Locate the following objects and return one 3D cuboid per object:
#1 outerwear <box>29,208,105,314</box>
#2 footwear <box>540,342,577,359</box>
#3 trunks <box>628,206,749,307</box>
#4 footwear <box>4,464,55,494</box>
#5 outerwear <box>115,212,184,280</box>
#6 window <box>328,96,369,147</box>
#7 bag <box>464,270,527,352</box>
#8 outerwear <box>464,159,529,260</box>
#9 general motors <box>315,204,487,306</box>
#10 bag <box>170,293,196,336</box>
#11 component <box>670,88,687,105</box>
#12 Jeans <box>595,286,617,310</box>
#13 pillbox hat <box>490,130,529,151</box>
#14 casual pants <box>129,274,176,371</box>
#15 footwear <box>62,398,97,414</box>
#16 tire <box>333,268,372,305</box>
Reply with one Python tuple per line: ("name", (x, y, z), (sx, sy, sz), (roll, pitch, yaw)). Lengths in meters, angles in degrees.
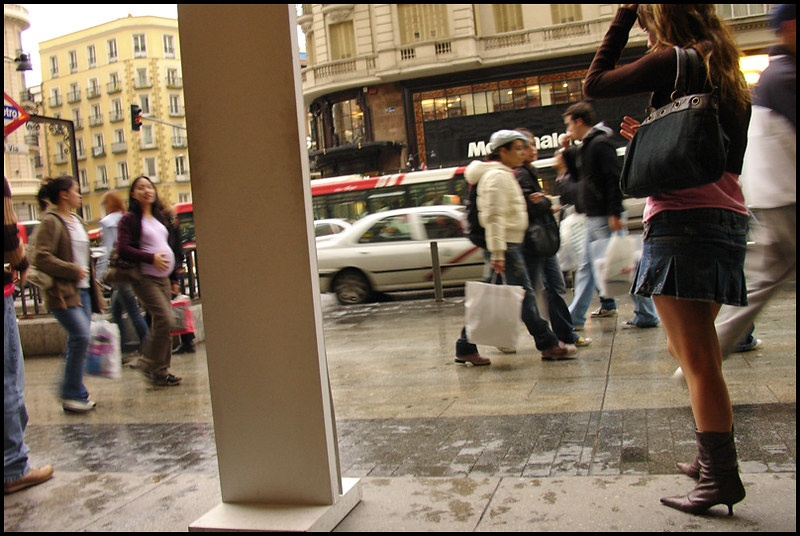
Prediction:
("outerwear", (-3.186, -0.050, 6.983), (0.551, 0.942, 0.762), (5, -4, 0))
("footwear", (1.493, 0.808, 7.154), (0.328, 0.153, 0.140), (-7, 5, 0))
("trunks", (1.612, -0.047, 4.256), (0.703, 0.504, 0.489), (3, -12, 0))
("footwear", (-2.543, 1.457, 5.155), (0.107, 0.118, 0.303), (14, 18, 42))
("outerwear", (-2.575, -0.307, 7.597), (0.431, 0.718, 0.769), (-7, 9, 8))
("window", (-2.038, -5.940, 30.056), (0.154, 2.082, 2.101), (-2, -8, -34))
("bag", (0.855, 0.394, 6.759), (0.756, 0.711, 0.290), (6, 10, 13))
("outerwear", (0.938, -0.588, 7.310), (0.604, 0.994, 0.796), (-1, 8, 15))
("general motors", (-0.030, -0.277, 12.988), (3.016, 1.006, 1.339), (-9, 5, 1))
("bag", (-2.850, 0.661, 9.672), (0.242, 0.425, 0.444), (-8, -6, -14))
("component", (1.492, -0.930, 4.034), (0.080, 0.077, 0.113), (-3, 8, 19))
("Jeans", (2.282, 0.339, 8.348), (0.239, 0.331, 0.183), (-7, 25, 4))
("pillbox hat", (1.029, -1.264, 7.287), (0.298, 0.160, 0.207), (-4, 4, -3))
("casual pants", (-2.462, 0.572, 7.552), (0.413, 1.099, 0.415), (-7, -16, -5))
("footwear", (-2.938, 1.261, 6.839), (0.313, 0.140, 0.110), (-1, 11, -24))
("tire", (-0.805, 0.288, 12.700), (0.622, 0.609, 0.232), (-1, 5, -1))
